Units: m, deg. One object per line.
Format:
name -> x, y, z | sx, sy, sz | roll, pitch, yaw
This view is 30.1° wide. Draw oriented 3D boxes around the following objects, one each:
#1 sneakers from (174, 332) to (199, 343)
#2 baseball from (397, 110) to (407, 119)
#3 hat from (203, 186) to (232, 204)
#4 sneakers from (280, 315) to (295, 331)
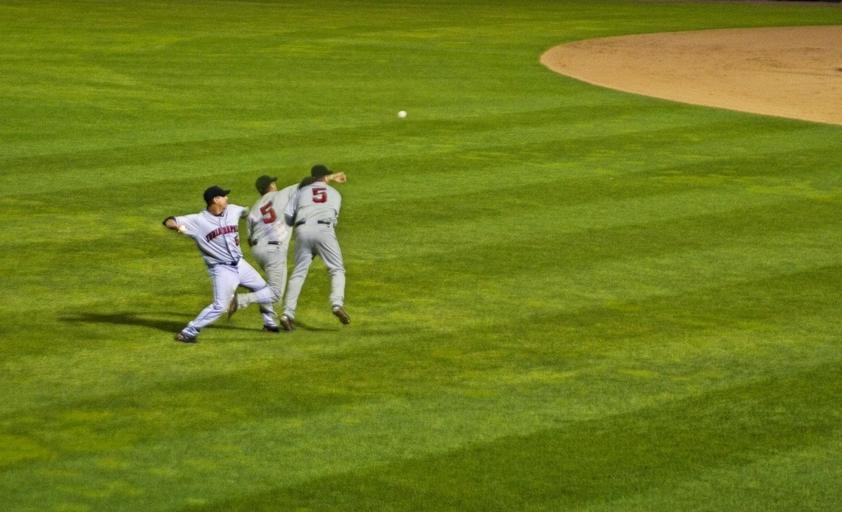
sneakers -> -3.701, 1.301, 25.011 | 0.445, 0.133, 0.126 | 4, 25, -5
baseball -> -0.399, -3.178, 34.935 | 0.278, 0.101, 0.215 | -2, 23, -3
hat -> -3.268, -0.992, 24.925 | 0.338, 0.250, 0.241 | -15, 34, -28
sneakers -> -2.153, 1.079, 25.317 | 0.158, 0.314, 0.141 | -7, 48, 7
